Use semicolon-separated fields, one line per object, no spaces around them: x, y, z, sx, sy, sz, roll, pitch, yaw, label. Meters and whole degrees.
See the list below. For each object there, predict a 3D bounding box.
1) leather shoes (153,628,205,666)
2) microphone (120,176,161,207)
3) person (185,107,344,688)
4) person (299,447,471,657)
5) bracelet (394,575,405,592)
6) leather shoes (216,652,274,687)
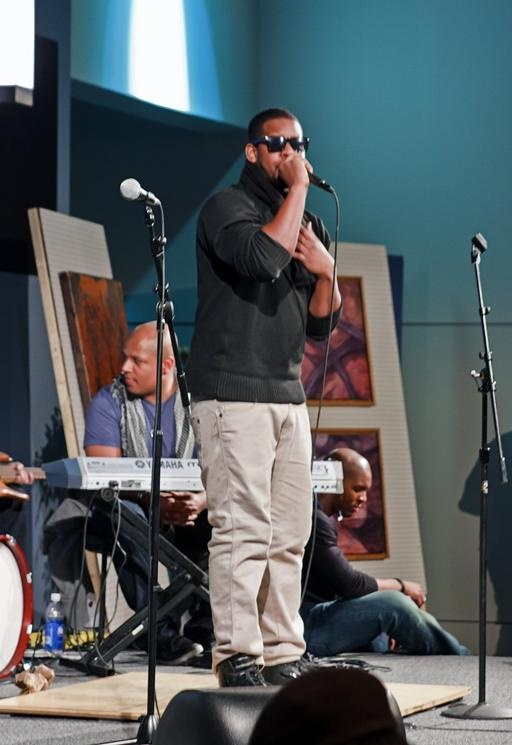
-0.272;0.935;3.578;0.194;0.142;0.066;-18;-24;20;leather shoes
-0.304;-0.455;2.673;0.073;0.051;0.119;33;5;30;microphone
-0.008;0.032;2.489;0.333;1.353;0.603;-1;1;14;person
0.470;0.717;4.022;0.710;0.864;0.506;-2;-5;3;person
0.570;0.832;4.184;0.044;0.034;0.042;-3;6;-25;bracelet
-0.029;0.651;2.307;0.056;0.061;0.146;10;-16;-38;leather shoes
